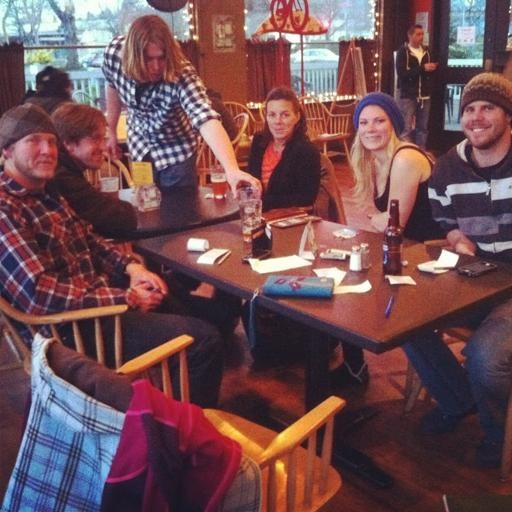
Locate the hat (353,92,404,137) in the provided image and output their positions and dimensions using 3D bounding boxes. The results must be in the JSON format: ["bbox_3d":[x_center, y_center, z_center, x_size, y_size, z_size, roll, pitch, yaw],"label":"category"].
[{"bbox_3d":[0.636,-0.741,2.510,0.205,0.242,0.102,-23,9,32],"label":"hat"}]

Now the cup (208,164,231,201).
[{"bbox_3d":[-0.204,-0.402,2.774,0.086,0.143,0.087,-1,11,0],"label":"cup"}]

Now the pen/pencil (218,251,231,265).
[{"bbox_3d":[-0.118,0.006,1.882,0.015,0.017,0.101,16,40,15],"label":"pen/pencil"}]

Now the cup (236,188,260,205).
[{"bbox_3d":[-0.033,-0.258,2.127,0.069,0.072,0.090,-9,12,-40],"label":"cup"}]

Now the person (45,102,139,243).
[{"bbox_3d":[-0.802,-0.413,2.615,0.520,0.903,0.543,-1,6,-8],"label":"person"}]
